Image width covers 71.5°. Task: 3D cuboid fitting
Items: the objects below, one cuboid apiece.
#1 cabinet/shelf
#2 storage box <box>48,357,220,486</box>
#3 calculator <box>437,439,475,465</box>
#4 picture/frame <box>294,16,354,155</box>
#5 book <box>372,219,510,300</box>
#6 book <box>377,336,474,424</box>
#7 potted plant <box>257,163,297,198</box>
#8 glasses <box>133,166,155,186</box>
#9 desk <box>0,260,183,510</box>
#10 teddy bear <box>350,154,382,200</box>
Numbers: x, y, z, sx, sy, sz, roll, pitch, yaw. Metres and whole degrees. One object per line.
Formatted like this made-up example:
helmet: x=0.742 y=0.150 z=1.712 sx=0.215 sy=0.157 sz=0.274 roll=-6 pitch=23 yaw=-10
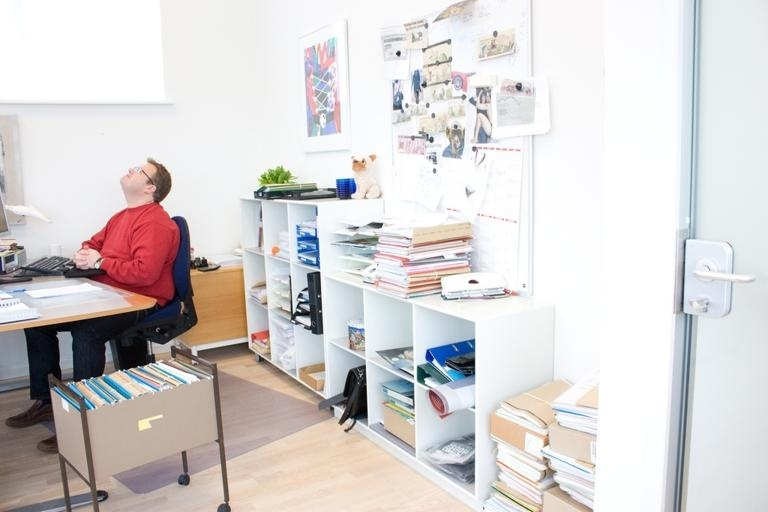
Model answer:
cabinet/shelf: x=0.111 y=0.539 z=2.923 sx=0.386 sy=0.883 sz=1.637 roll=-7 pitch=14 yaw=-35
storage box: x=-1.124 y=0.655 z=2.408 sx=0.758 sy=0.425 sz=0.520 roll=-9 pitch=9 yaw=-42
calculator: x=0.370 y=1.003 z=2.740 sx=0.136 sy=0.031 sz=0.104 roll=-5 pitch=8 yaw=18
picture/frame: x=-0.418 y=-1.255 z=4.013 sx=0.105 sy=0.898 sz=0.621 roll=-13 pitch=16 yaw=-34
book: x=0.235 y=0.020 z=2.845 sx=0.448 sy=0.188 sz=0.562 roll=-9 pitch=13 yaw=-36
book: x=0.266 y=0.599 z=2.733 sx=0.350 sy=0.138 sz=0.486 roll=-6 pitch=12 yaw=-28
potted plant: x=-0.808 y=-0.556 z=3.972 sx=0.323 sy=0.149 sz=0.332 roll=-17 pitch=29 yaw=-16
glasses: x=-1.547 y=-0.526 z=3.446 sx=0.037 sy=0.125 sz=0.122 roll=-57 pitch=28 yaw=-13
desk: x=-1.508 y=0.663 z=2.783 sx=1.285 sy=0.568 sz=0.701 roll=4 pitch=5 yaw=41
teddy bear: x=-0.121 y=-0.531 z=3.572 sx=0.198 sy=0.288 sz=0.199 roll=-5 pitch=13 yaw=-5
